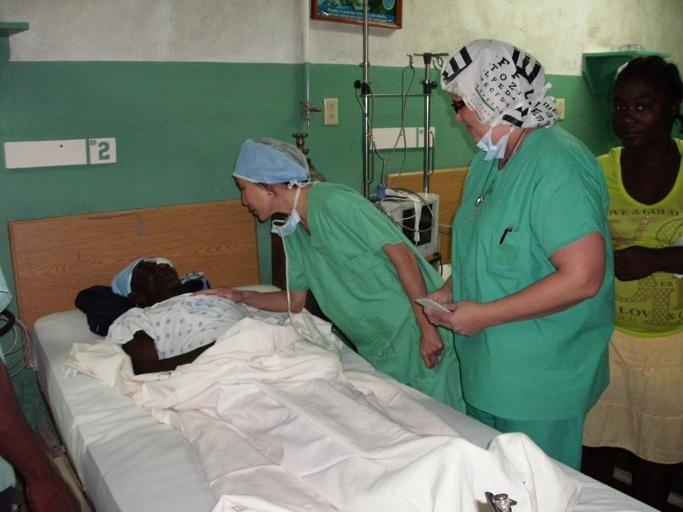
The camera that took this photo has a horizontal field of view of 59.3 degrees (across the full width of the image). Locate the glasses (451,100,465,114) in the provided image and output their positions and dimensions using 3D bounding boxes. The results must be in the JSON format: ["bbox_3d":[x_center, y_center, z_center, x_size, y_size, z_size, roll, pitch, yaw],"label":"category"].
[{"bbox_3d":[0.378,-0.482,1.944,0.014,0.045,0.040,-13,19,-21],"label":"glasses"}]

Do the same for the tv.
[{"bbox_3d":[0.381,-0.168,3.514,0.351,0.364,0.283,-15,16,-37],"label":"tv"}]

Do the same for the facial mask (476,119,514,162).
[{"bbox_3d":[0.476,-0.361,1.903,0.081,0.103,0.051,13,22,22],"label":"facial mask"}]

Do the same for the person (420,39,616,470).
[{"bbox_3d":[0.570,0.017,1.958,0.583,1.417,0.433,2,13,26],"label":"person"}]

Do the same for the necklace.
[{"bbox_3d":[0.493,-0.307,2.009,0.146,0.243,0.122,36,26,33],"label":"necklace"}]

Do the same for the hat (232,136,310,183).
[{"bbox_3d":[-0.287,-0.402,2.524,0.317,0.176,0.336,1,15,-30],"label":"hat"}]

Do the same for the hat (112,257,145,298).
[{"bbox_3d":[-1.006,0.110,2.770,0.177,0.105,0.138,-45,27,-5],"label":"hat"}]
